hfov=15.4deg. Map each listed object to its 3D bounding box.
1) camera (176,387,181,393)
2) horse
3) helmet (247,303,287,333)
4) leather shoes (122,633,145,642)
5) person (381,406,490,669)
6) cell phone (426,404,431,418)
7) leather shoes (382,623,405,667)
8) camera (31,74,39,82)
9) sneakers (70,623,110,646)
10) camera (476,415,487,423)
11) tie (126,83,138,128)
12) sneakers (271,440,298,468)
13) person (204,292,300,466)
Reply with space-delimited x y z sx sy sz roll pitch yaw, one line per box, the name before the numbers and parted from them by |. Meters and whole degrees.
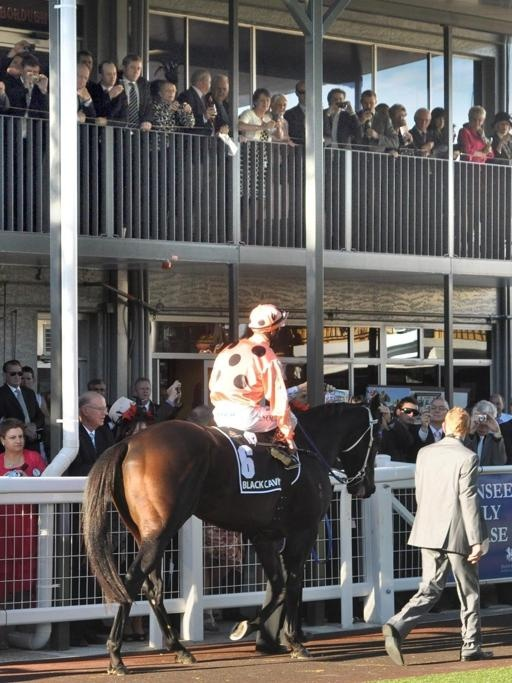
camera | -0.704 0.440 17.082 0.044 0.048 0.082 -2 -11 -2
horse | -0.145 1.318 12.931 0.803 1.689 2.252 1 3 41
helmet | 0.082 -0.202 13.155 0.166 0.154 0.231 24 47 35
leather shoes | -0.878 2.105 13.520 0.159 0.068 0.056 -3 2 -28
person | 1.251 1.322 12.873 0.664 1.707 0.541 0 2 7
cell phone | 1.558 0.634 17.044 0.042 0.121 0.084 1 3 -32
leather shoes | 0.931 2.049 12.772 0.082 0.250 0.161 -18 -8 15
camera | -1.991 -2.359 17.001 0.060 0.070 0.081 4 42 -2
sneakers | -1.189 2.074 13.361 0.098 0.118 0.194 -3 -7 42
camera | 1.888 0.645 15.731 0.072 0.060 0.027 5 4 37
tie | -1.139 -2.166 17.343 0.072 0.387 0.208 0 2 18
sneakers | 0.200 0.782 12.986 0.189 0.060 0.147 34 14 -32
person | 0.089 0.395 13.179 0.604 1.316 0.635 -14 15 -19
